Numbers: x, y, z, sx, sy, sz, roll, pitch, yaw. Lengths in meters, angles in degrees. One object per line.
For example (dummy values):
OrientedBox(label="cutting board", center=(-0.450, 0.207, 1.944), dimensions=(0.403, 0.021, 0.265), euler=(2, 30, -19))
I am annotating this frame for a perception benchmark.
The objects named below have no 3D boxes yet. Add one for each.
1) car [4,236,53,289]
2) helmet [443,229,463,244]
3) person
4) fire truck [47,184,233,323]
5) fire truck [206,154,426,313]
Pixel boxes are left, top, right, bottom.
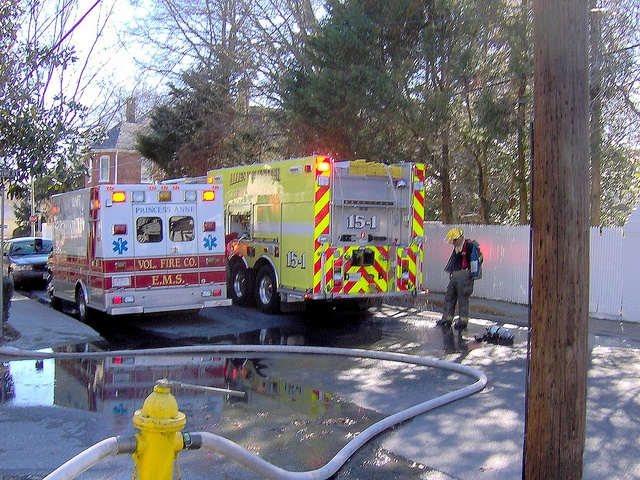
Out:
OrientedBox(label="car", center=(-9.162, 0.580, 18.179), dimensions=(1.581, 1.502, 3.717), euler=(0, -2, -30))
OrientedBox(label="helmet", center=(2.979, -0.106, 12.975), dimensions=(0.308, 0.218, 0.226), euler=(-35, 10, -2))
OrientedBox(label="person", center=(2.845, 0.771, 11.829), dimensions=(0.889, 2.002, 0.446), euler=(-1, 0, 41))
OrientedBox(label="fire truck", center=(-4.082, 0.047, 12.596), dimensions=(2.102, 2.261, 3.605), euler=(0, 3, -27))
OrientedBox(label="fire truck", center=(-0.283, -0.249, 13.802), dimensions=(2.761, 3.217, 5.069), euler=(-1, 3, -30))
